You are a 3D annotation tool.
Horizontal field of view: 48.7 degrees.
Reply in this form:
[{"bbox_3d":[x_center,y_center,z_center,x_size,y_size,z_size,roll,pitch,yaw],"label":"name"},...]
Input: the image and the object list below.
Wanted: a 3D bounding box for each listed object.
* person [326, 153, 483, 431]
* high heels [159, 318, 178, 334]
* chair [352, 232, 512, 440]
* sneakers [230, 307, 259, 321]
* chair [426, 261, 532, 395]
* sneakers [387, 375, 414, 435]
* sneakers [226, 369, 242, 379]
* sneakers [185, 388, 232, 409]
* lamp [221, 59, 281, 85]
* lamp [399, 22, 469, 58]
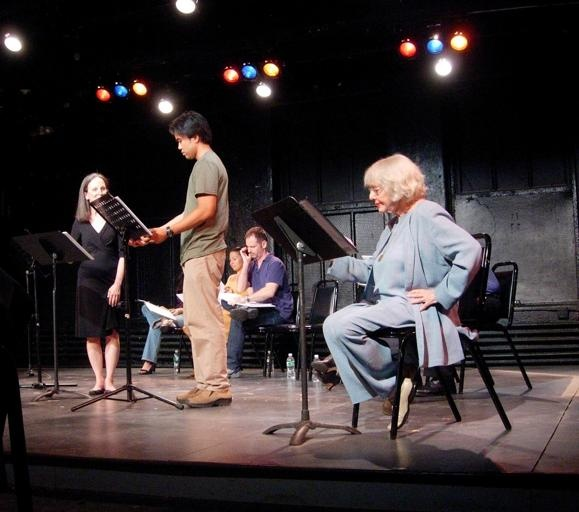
[{"bbox_3d":[0.566,0.105,3.374,0.821,1.287,0.536,-5,7,2],"label":"person"},{"bbox_3d":[-1.243,0.706,6.596,0.088,0.098,0.249,0,0,14],"label":"high heels"},{"bbox_3d":[0.903,0.441,3.740,0.808,0.935,0.687,-3,6,-10],"label":"chair"},{"bbox_3d":[-0.442,0.554,6.200,0.176,0.077,0.219,1,-1,5],"label":"sneakers"},{"bbox_3d":[1.593,0.540,5.141,0.877,1.012,0.775,12,1,2],"label":"chair"},{"bbox_3d":[0.573,0.755,3.282,0.129,0.284,0.092,10,2,-8],"label":"sneakers"},{"bbox_3d":[-0.556,1.188,6.446,0.071,0.082,0.209,-6,-19,25],"label":"sneakers"},{"bbox_3d":[-0.538,0.955,4.275,0.311,0.131,0.109,5,-7,-14],"label":"sneakers"},{"bbox_3d":[-0.464,-2.247,7.806,0.697,0.210,0.183,-2,7,19],"label":"lamp"},{"bbox_3d":[1.612,-2.508,7.177,0.646,0.217,0.279,-5,5,10],"label":"lamp"}]
